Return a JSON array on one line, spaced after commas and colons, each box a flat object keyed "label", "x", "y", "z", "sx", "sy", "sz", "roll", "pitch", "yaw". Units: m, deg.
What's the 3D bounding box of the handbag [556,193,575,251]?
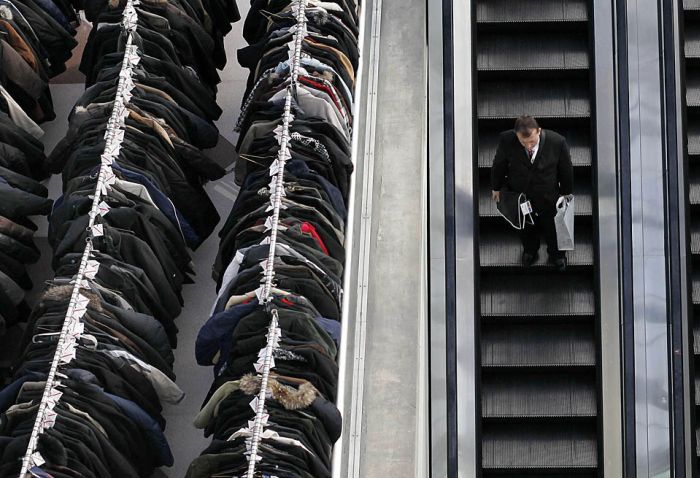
[{"label": "handbag", "x": 1.993, "y": -0.179, "z": 10.338, "sx": 0.147, "sy": 0.413, "sz": 0.387, "roll": -3, "pitch": -24, "yaw": 14}]

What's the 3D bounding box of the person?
[{"label": "person", "x": 1.715, "y": -0.474, "z": 10.578, "sx": 0.768, "sy": 0.540, "sz": 1.890, "roll": 5, "pitch": -44, "yaw": 17}]

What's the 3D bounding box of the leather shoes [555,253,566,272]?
[{"label": "leather shoes", "x": 2.020, "y": 0.211, "z": 10.692, "sx": 0.088, "sy": 0.104, "sz": 0.163, "roll": 2, "pitch": -73, "yaw": 10}]

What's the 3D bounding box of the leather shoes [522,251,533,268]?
[{"label": "leather shoes", "x": 1.712, "y": 0.190, "z": 10.735, "sx": 0.078, "sy": 0.145, "sz": 0.098, "roll": 3, "pitch": -61, "yaw": 16}]

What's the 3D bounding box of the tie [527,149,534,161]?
[{"label": "tie", "x": 1.656, "y": -0.776, "z": 10.205, "sx": 0.062, "sy": 0.024, "sz": 0.093, "roll": 2, "pitch": -82, "yaw": 27}]
